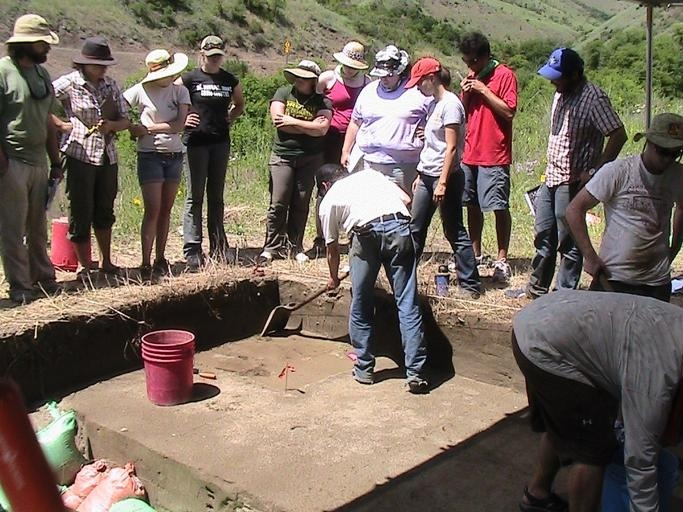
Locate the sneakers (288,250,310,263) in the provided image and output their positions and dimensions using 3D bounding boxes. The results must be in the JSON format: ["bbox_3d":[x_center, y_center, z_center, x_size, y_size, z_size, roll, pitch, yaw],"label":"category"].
[{"bbox_3d":[-0.498,0.014,7.002,0.129,0.106,0.230,4,5,-38],"label":"sneakers"}]

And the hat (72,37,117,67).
[{"bbox_3d":[-2.313,-1.926,5.492,0.366,0.266,0.344,-6,15,-31],"label":"hat"}]

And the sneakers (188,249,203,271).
[{"bbox_3d":[-1.575,0.052,6.364,0.173,0.187,0.182,0,-32,-4],"label":"sneakers"}]

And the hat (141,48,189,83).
[{"bbox_3d":[-1.804,-1.922,5.920,0.431,0.353,0.486,-3,14,-20],"label":"hat"}]

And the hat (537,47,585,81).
[{"bbox_3d":[1.846,-1.616,4.918,0.353,0.286,0.321,6,14,18],"label":"hat"}]

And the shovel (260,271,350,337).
[{"bbox_3d":[-0.389,0.518,6.355,0.268,0.124,1.074,34,-40,-30],"label":"shovel"}]

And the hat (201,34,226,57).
[{"bbox_3d":[-1.387,-2.248,6.264,0.248,0.238,0.307,-2,13,-14],"label":"hat"}]

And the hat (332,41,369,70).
[{"bbox_3d":[0.112,-2.315,6.837,0.361,0.196,0.372,31,16,-8],"label":"hat"}]

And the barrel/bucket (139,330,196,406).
[{"bbox_3d":[-1.297,0.874,4.762,0.471,0.574,0.541,0,6,-3],"label":"barrel/bucket"}]

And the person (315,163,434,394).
[{"bbox_3d":[0.295,0.223,4.971,0.952,1.840,0.379,4,13,13],"label":"person"}]

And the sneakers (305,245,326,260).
[{"bbox_3d":[-0.333,-0.035,7.312,0.166,0.083,0.222,5,26,33],"label":"sneakers"}]

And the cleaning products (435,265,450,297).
[{"bbox_3d":[0.978,0.209,5.714,0.134,0.361,0.125,0,11,11],"label":"cleaning products"}]

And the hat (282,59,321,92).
[{"bbox_3d":[-0.453,-2.066,6.704,0.403,0.377,0.454,1,13,-4],"label":"hat"}]

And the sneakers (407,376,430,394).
[{"bbox_3d":[0.647,1.092,4.936,0.136,0.089,0.183,-8,5,-32],"label":"sneakers"}]

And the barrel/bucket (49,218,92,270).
[{"bbox_3d":[-2.991,-0.156,6.476,0.504,0.605,0.510,2,8,0],"label":"barrel/bucket"}]

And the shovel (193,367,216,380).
[{"bbox_3d":[-1.230,1.056,5.246,0.155,0.040,0.049,16,24,25],"label":"shovel"}]

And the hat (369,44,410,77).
[{"bbox_3d":[0.472,-1.890,5.661,0.304,0.318,0.423,3,13,7],"label":"hat"}]

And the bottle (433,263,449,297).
[{"bbox_3d":[0.981,0.243,5.750,0.149,0.364,0.150,4,-23,2],"label":"bottle"}]
